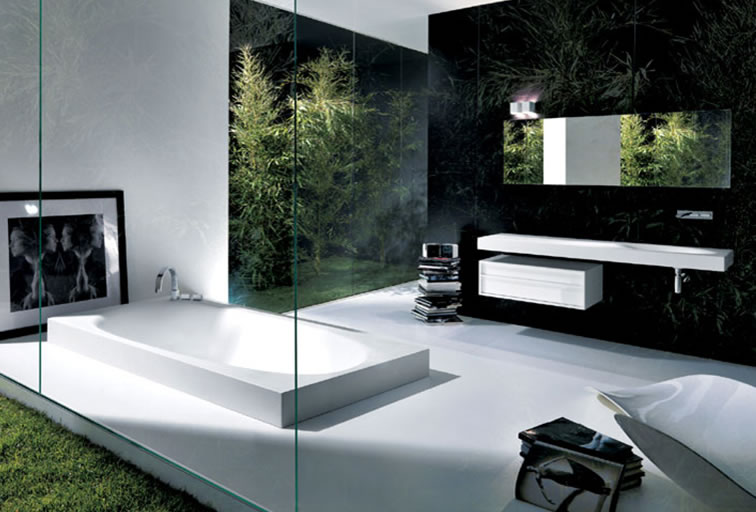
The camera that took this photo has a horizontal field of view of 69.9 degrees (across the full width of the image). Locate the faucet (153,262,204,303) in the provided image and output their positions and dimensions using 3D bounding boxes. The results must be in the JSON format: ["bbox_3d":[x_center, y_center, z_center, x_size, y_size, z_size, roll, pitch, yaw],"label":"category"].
[{"bbox_3d":[-1.234,0.163,3.378,0.260,0.259,0.210,0,-2,25],"label":"faucet"}]

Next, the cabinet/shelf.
[{"bbox_3d":[1.625,0.294,5.398,1.161,0.499,0.442,6,13,29],"label":"cabinet/shelf"}]

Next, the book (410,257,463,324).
[{"bbox_3d":[0.697,0.364,6.255,0.593,0.745,0.740,0,3,14],"label":"book"}]
